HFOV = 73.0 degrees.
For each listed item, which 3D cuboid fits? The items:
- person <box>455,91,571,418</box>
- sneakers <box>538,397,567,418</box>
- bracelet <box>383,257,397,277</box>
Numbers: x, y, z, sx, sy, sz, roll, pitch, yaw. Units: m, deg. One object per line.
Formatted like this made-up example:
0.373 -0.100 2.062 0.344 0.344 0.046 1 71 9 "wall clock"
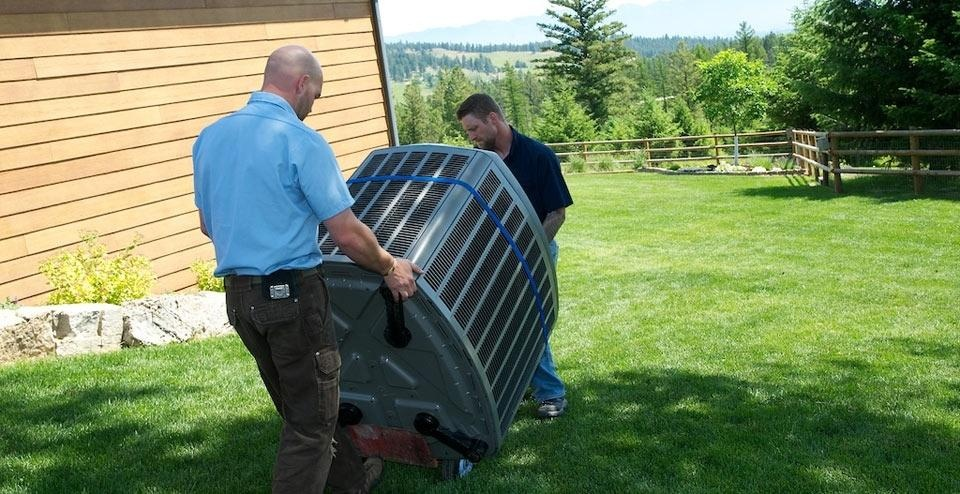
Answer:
0.565 0.081 8.300 1.136 4.106 0.814 0 10 28 "person"
0.898 2.053 8.217 0.408 0.184 0.167 0 -3 -9 "sneakers"
-0.946 0.215 6.766 0.074 0.160 0.182 33 -24 6 "bracelet"
